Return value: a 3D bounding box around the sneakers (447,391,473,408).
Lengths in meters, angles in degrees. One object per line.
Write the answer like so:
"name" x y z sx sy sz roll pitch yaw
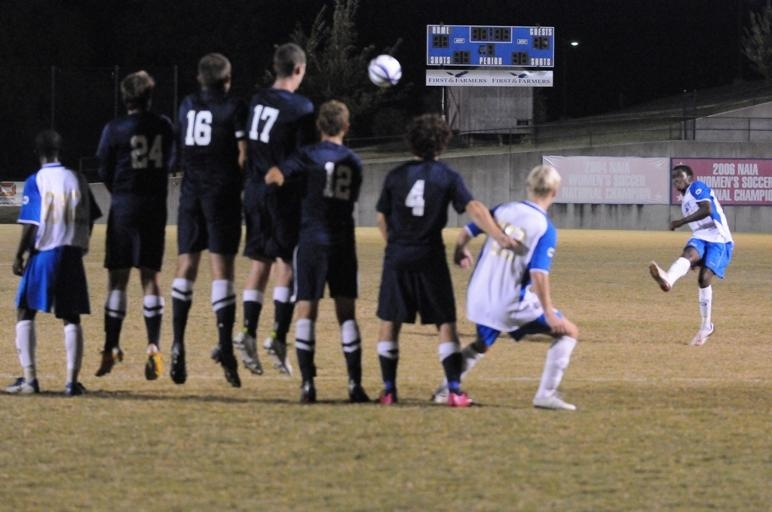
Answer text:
"sneakers" 1.460 2.932 30.225 0.518 0.210 0.221 2 2 -4
